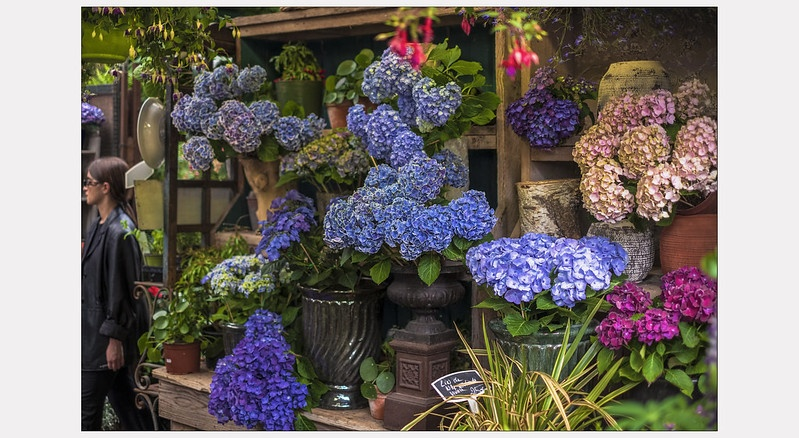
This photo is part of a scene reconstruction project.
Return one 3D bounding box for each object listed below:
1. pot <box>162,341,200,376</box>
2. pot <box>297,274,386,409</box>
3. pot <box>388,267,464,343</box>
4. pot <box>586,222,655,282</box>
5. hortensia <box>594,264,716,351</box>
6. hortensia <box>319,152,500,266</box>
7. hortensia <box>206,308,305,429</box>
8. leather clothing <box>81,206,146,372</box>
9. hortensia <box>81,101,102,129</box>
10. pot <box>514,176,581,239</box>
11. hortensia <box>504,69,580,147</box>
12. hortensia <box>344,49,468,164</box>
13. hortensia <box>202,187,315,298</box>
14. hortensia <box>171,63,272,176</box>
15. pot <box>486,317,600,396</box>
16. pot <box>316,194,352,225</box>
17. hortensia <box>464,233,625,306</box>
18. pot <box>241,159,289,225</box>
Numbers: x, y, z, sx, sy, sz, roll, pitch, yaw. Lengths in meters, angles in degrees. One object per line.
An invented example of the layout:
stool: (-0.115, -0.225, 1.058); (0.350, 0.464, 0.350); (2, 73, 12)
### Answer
pot: (-1.539, 0.975, 4.863); (0.294, 0.202, 0.287); (-2, -7, 0)
pot: (-0.409, 0.855, 4.620); (0.631, 0.726, 0.589); (1, -6, 0)
pot: (0.143, 0.537, 4.355); (0.559, 0.464, 0.566); (3, -3, 0)
pot: (1.425, 0.209, 4.322); (0.396, 0.339, 0.382); (1, -3, 0)
hortensia: (1.420, 0.498, 3.817); (0.634, 0.444, 0.168); (0, 4, 14)
hortensia: (0.043, -0.067, 4.012); (0.933, 0.552, 0.496); (1, 13, 12)
hortensia: (-0.886, 0.952, 4.331); (0.567, 0.730, 0.313); (1, 4, 27)
leather clothing: (-2.152, 0.523, 5.081); (0.413, 1.193, 0.334); (1, 4, 25)
hortensia: (-3.180, -1.095, 7.115); (0.214, 0.240, 0.482); (-2, 3, -23)
pot: (0.923, -0.056, 4.280); (0.394, 0.390, 0.382); (-1, -3, 0)
hortensia: (0.897, -0.663, 4.266); (0.455, 0.483, 0.306); (3, -24, 10)
hortensia: (0.021, -0.677, 4.217); (0.723, 0.708, 0.261); (0, 4, 6)
hortensia: (-0.923, 0.077, 4.691); (0.791, 0.667, 0.452); (-18, 43, -29)
hortensia: (-1.273, -0.728, 4.946); (0.717, 0.727, 0.379); (1, 4, 30)
pot: (0.700, 0.807, 4.012); (0.501, 0.346, 0.488); (6, -5, 1)
pot: (-0.492, -0.089, 4.950); (0.238, 0.230, 0.196); (1, -1, 13)
hortensia: (0.819, 0.208, 3.841); (0.601, 0.290, 0.482); (-6, 14, -12)
pot: (-1.027, -0.171, 5.150); (0.298, 0.466, 0.333); (-6, -9, 15)
